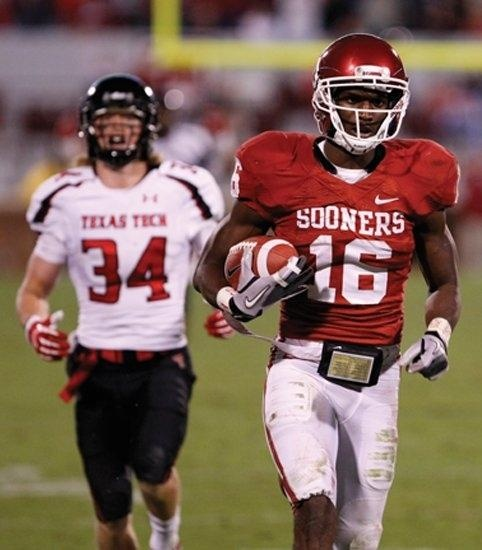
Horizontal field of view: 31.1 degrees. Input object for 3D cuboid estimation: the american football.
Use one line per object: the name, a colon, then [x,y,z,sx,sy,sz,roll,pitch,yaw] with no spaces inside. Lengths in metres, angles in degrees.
american football: [0.045,-0.038,2.319,0.127,0.109,0.210,-18,4,-25]

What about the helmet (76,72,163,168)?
helmet: [-0.411,-0.526,2.921,0.276,0.252,0.293,4,13,2]

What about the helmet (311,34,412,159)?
helmet: [0.347,-0.526,2.484,0.295,0.278,0.323,0,14,-3]

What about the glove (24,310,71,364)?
glove: [-0.608,0.191,2.653,0.148,0.057,0.160,-18,44,-18]

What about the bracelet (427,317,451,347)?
bracelet: [0.550,0.162,2.352,0.077,0.076,0.064,1,33,22]
